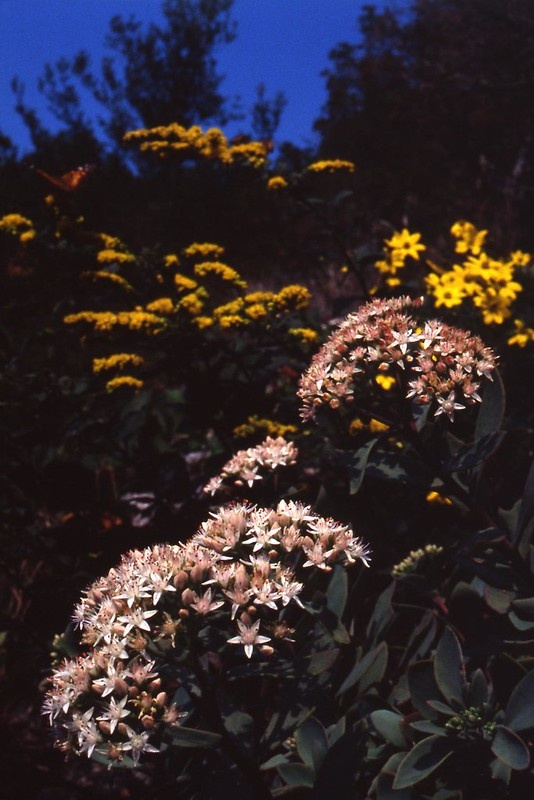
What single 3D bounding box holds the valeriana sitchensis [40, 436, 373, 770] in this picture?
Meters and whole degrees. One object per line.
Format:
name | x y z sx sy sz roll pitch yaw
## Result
valeriana sitchensis | -0.158 0.448 2.099 0.534 0.738 0.344 42 -5 -13
